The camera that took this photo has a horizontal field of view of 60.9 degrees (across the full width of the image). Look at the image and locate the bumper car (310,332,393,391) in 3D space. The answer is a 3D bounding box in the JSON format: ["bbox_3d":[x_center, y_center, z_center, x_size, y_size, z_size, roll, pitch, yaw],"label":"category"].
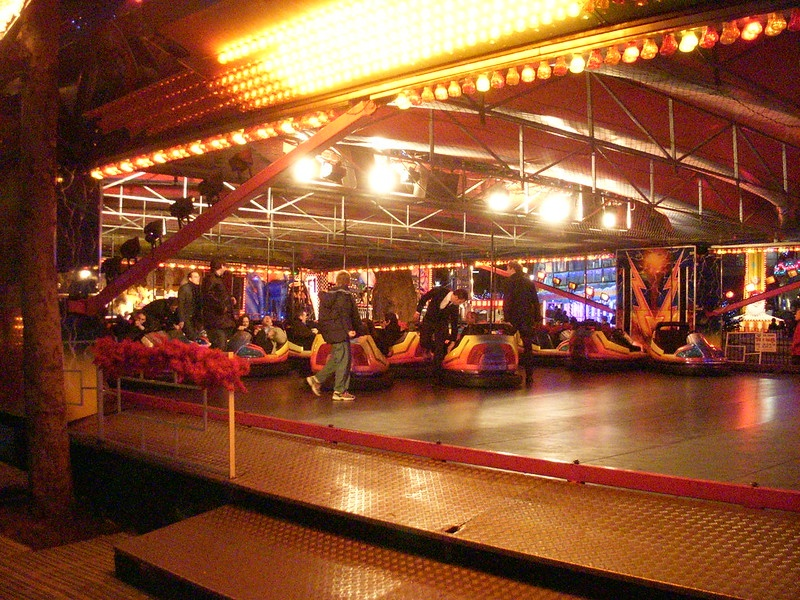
[{"bbox_3d":[-0.687,0.853,10.123,1.331,0.682,0.966,9,2,-5],"label":"bumper car"}]

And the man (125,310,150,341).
[{"bbox_3d":[-4.100,0.421,10.680,0.254,0.304,0.916,11,1,-29],"label":"man"}]

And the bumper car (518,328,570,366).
[{"bbox_3d":[3.286,1.091,14.940,1.275,0.582,0.888,0,-5,4],"label":"bumper car"}]

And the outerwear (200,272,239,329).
[{"bbox_3d":[-2.466,0.037,9.212,0.420,0.812,0.311,-4,7,-23],"label":"outerwear"}]

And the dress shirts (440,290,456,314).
[{"bbox_3d":[0.724,0.037,10.382,0.082,0.251,0.178,26,-8,-33],"label":"dress shirts"}]

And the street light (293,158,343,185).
[{"bbox_3d":[-1.434,-2.233,11.665,0.854,0.376,1.396,6,7,8],"label":"street light"}]

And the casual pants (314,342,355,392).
[{"bbox_3d":[-0.841,0.839,8.794,0.597,0.849,0.508,-1,6,-15],"label":"casual pants"}]

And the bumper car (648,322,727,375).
[{"bbox_3d":[5.404,0.912,12.936,0.917,0.875,1.422,-2,6,-7],"label":"bumper car"}]

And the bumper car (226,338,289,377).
[{"bbox_3d":[-2.462,1.004,11.613,1.075,0.409,0.787,2,-5,-2],"label":"bumper car"}]

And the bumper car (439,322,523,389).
[{"bbox_3d":[1.511,0.634,11.453,1.182,0.841,2.418,0,12,6],"label":"bumper car"}]

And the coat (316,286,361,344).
[{"bbox_3d":[-0.768,0.217,8.702,0.543,0.705,0.377,-2,7,-7],"label":"coat"}]

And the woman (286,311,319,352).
[{"bbox_3d":[-1.777,0.626,12.579,0.441,0.817,0.400,-1,-3,6],"label":"woman"}]

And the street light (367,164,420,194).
[{"bbox_3d":[-0.108,-2.341,13.239,0.420,0.602,1.327,4,8,37],"label":"street light"}]

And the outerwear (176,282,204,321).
[{"bbox_3d":[-2.881,0.036,9.325,0.302,0.585,0.616,-3,7,-20],"label":"outerwear"}]

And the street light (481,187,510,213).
[{"bbox_3d":[2.051,-2.140,14.505,0.501,0.563,1.769,0,6,8],"label":"street light"}]

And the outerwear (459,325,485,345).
[{"bbox_3d":[1.203,0.543,11.258,0.357,0.287,0.344,5,7,10],"label":"outerwear"}]

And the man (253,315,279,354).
[{"bbox_3d":[-2.404,0.658,12.236,0.398,0.716,0.304,-29,-37,35],"label":"man"}]

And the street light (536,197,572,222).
[{"bbox_3d":[3.700,-2.181,16.379,0.713,0.664,1.329,0,6,12],"label":"street light"}]

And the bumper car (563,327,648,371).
[{"bbox_3d":[4.100,1.053,13.662,1.196,0.686,0.948,-1,-2,-3],"label":"bumper car"}]
